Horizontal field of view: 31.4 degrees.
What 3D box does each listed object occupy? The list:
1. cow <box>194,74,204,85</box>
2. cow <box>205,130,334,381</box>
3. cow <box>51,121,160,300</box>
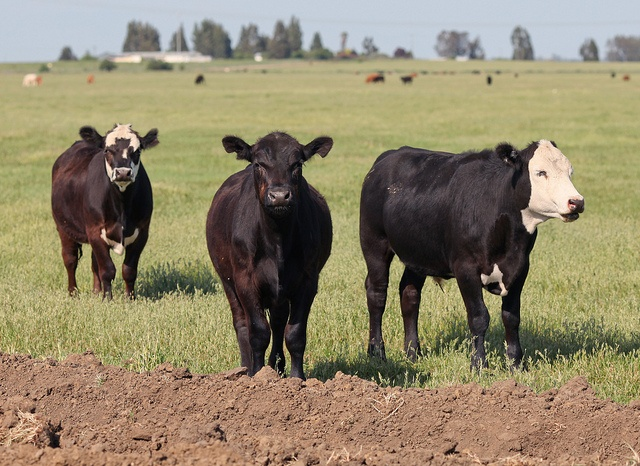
[{"bbox_3d":[-7.565,-9.320,71.008,0.287,0.555,1.010,-2,0,0],"label":"cow"},{"bbox_3d":[-0.987,0.426,23.378,2.392,4.855,2.141,1,11,12],"label":"cow"},{"bbox_3d":[-5.402,-0.568,27.461,2.665,3.887,1.791,7,14,36],"label":"cow"}]
